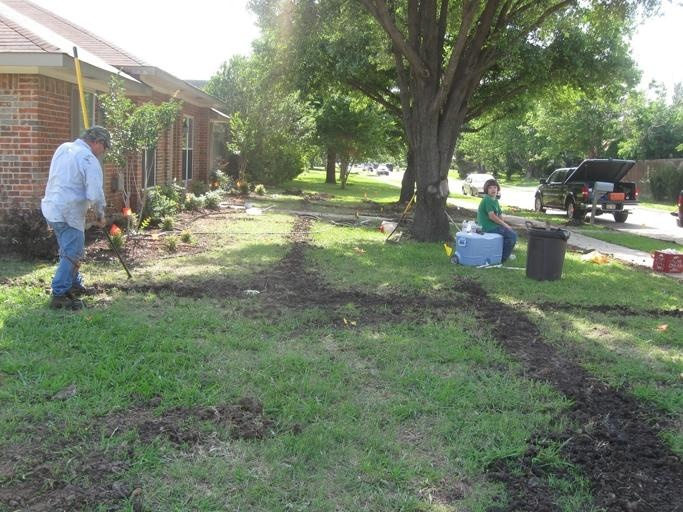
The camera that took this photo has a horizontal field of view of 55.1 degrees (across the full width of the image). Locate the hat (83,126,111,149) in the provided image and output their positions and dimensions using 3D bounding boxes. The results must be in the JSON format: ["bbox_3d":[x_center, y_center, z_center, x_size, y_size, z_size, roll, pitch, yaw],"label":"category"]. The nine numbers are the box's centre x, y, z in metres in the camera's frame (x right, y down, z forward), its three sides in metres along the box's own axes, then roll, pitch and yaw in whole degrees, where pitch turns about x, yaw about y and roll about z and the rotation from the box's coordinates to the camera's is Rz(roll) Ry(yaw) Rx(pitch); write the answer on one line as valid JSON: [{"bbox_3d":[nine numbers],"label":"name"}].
[{"bbox_3d":[-3.519,-1.744,9.497,0.267,0.205,0.372,24,16,26],"label":"hat"}]

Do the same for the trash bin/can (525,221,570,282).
[{"bbox_3d":[3.697,-0.124,11.844,0.746,1.143,1.013,12,23,35],"label":"trash bin/can"}]

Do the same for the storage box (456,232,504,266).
[{"bbox_3d":[2.695,-0.175,12.818,0.919,0.677,0.561,-3,10,-25],"label":"storage box"}]

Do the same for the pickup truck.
[{"bbox_3d":[8.575,-2.529,23.784,1.676,1.495,3.949,-2,12,-10],"label":"pickup truck"}]

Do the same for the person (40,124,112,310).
[{"bbox_3d":[-3.747,-0.626,9.236,0.848,2.425,1.058,-2,10,-26],"label":"person"}]

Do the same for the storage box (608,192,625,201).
[{"bbox_3d":[9.218,-2.047,22.038,0.598,0.309,0.153,0,10,-15],"label":"storage box"}]
